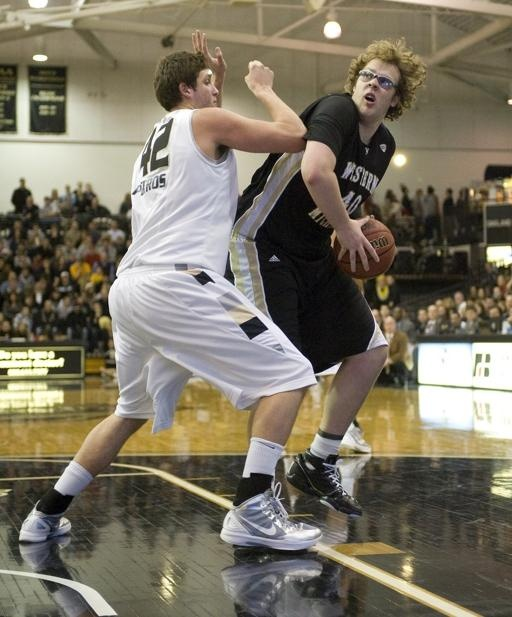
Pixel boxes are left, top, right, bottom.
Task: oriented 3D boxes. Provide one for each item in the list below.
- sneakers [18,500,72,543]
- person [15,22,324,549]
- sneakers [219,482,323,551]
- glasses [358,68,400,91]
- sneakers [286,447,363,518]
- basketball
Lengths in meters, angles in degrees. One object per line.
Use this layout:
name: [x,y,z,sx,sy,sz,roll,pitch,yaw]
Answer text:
sneakers: [-0.730,0.746,2.244,0.084,0.085,0.217,3,0,28]
person: [-0.212,-0.072,2.173,0.949,1.488,0.448,3,1,21]
sneakers: [0.035,0.699,2.142,0.452,0.249,0.140,4,-11,-6]
glasses: [0.450,-0.840,2.357,0.143,0.081,0.089,2,1,6]
sneakers: [0.291,0.666,2.493,0.350,0.161,0.124,25,12,35]
basketball: [0.390,-0.211,2.414,0.262,0.220,0.239,0,-7,-7]
